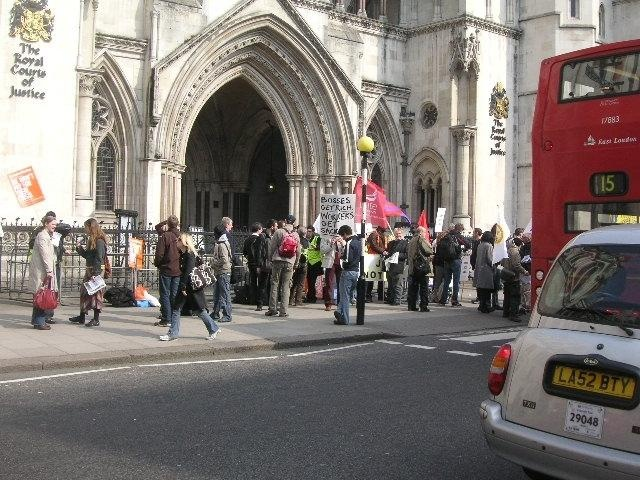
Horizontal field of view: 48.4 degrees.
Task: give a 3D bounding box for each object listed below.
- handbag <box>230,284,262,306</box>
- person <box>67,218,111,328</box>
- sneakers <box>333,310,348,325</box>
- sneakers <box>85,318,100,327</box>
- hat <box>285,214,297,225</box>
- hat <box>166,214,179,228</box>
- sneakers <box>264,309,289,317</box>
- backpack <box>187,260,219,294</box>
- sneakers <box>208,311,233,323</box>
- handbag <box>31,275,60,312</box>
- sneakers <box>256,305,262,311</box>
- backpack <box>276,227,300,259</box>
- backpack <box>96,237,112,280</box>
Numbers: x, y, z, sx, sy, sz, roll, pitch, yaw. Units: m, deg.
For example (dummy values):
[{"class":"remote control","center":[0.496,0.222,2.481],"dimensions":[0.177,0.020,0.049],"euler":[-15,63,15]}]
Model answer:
[{"class":"handbag","center":[-1.825,1.381,17.951],"dimensions":[0.408,0.445,0.577],"euler":[-1,-7,28]},{"class":"person","center":[-4.335,0.594,13.658],"dimensions":[0.699,2.012,1.307],"euler":[0,1,-18]},{"class":"sneakers","center":[0.415,1.693,14.693],"dimensions":[0.139,0.455,0.282],"euler":[-1,7,34]},{"class":"sneakers","center":[-4.196,1.544,13.278],"dimensions":[0.262,0.149,0.116],"euler":[3,-1,-1]},{"class":"hat","center":[-0.661,-0.480,16.495],"dimensions":[0.282,0.243,0.500],"euler":[21,1,3]},{"class":"hat","center":[-2.709,-0.355,13.248],"dimensions":[0.171,0.243,0.229],"euler":[3,0,-6]},{"class":"sneakers","center":[-0.926,1.563,15.704],"dimensions":[0.462,0.240,0.198],"euler":[7,2,22]},{"class":"backpack","center":[-2.011,0.644,12.322],"dimensions":[0.295,0.400,0.673],"euler":[1,2,12]},{"class":"sneakers","center":[-2.013,1.600,14.570],"dimensions":[0.496,0.259,0.184],"euler":[17,-1,-10]},{"class":"handbag","center":[-4.841,0.976,12.655],"dimensions":[0.353,0.719,0.432],"euler":[0,1,-22]},{"class":"sneakers","center":[-1.386,1.584,16.627],"dimensions":[0.135,0.155,0.081],"euler":[9,-8,-43]},{"class":"backpack","center":[-0.696,0.094,15.443],"dimensions":[0.538,0.895,0.465],"euler":[5,-13,-15]},{"class":"backpack","center":[-4.131,0.339,13.628],"dimensions":[0.185,0.745,0.471],"euler":[-1,4,-17]}]
